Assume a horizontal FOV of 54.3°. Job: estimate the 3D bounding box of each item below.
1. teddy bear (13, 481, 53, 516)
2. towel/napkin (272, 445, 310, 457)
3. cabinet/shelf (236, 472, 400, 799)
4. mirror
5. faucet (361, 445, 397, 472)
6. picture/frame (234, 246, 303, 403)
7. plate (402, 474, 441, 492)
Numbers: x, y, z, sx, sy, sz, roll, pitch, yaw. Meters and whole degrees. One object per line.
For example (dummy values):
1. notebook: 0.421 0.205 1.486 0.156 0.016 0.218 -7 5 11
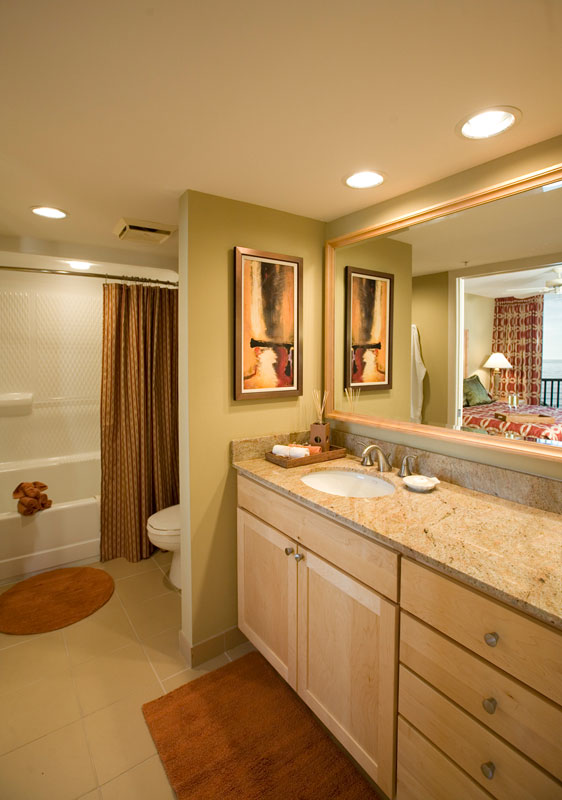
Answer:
1. teddy bear: -1.392 0.558 3.080 0.141 0.177 0.219 2 8 10
2. towel/napkin: 0.041 0.217 2.314 0.162 0.041 0.085 2 8 6
3. cabinet/shelf: 0.130 0.788 1.791 0.271 0.693 0.714 -6 15 -33
4. mirror: 0.601 -0.322 1.992 0.040 0.767 0.976 -2 2 -24
5. faucet: 0.396 0.242 2.223 0.059 0.109 0.162 -1 -9 -5
6. picture/frame: -0.045 -0.324 2.381 0.043 0.624 0.405 7 10 42
7. plate: 0.494 0.295 1.947 0.120 0.035 0.163 4 9 23
